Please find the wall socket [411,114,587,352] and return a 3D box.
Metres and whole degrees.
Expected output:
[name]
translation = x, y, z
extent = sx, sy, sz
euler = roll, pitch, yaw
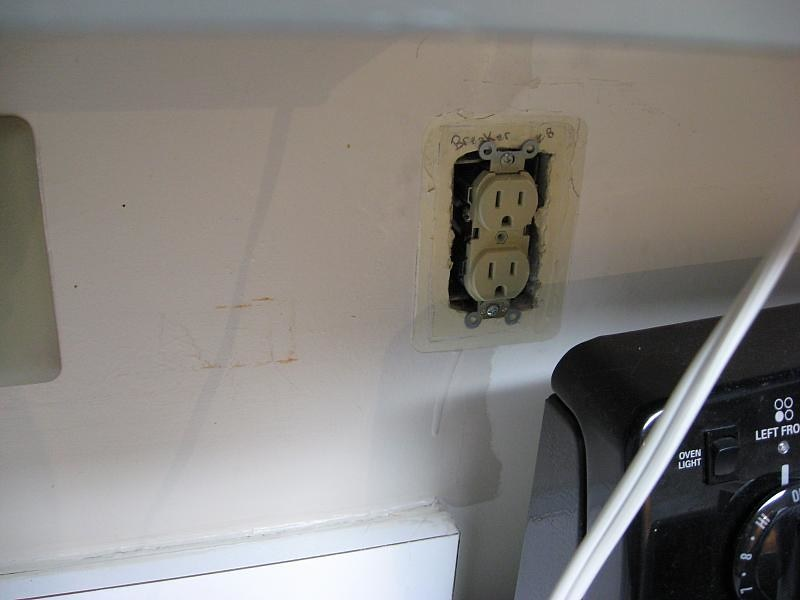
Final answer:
[wall socket]
translation = 0.077, -0.062, 0.650
extent = 0.157, 0.030, 0.241
euler = -6, -62, -15
